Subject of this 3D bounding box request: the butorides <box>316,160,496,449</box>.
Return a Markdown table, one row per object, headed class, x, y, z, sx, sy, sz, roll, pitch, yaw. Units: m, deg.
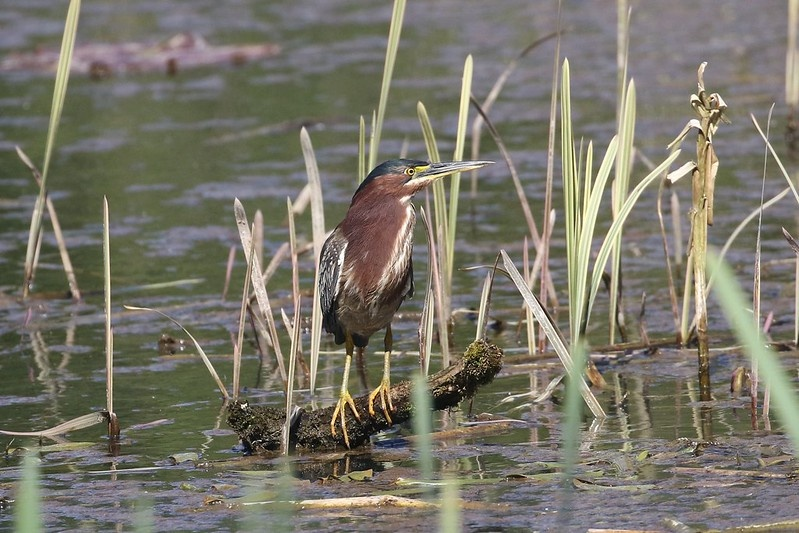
| class | x | y | z | sx | sy | sz | roll | pitch | yaw |
| --- | --- | --- | --- | --- | --- | --- | --- | --- | --- |
| butorides | -0.073 | 0.244 | 7.485 | 1.196 | 1.961 | 0.704 | -11 | -16 | 16 |
